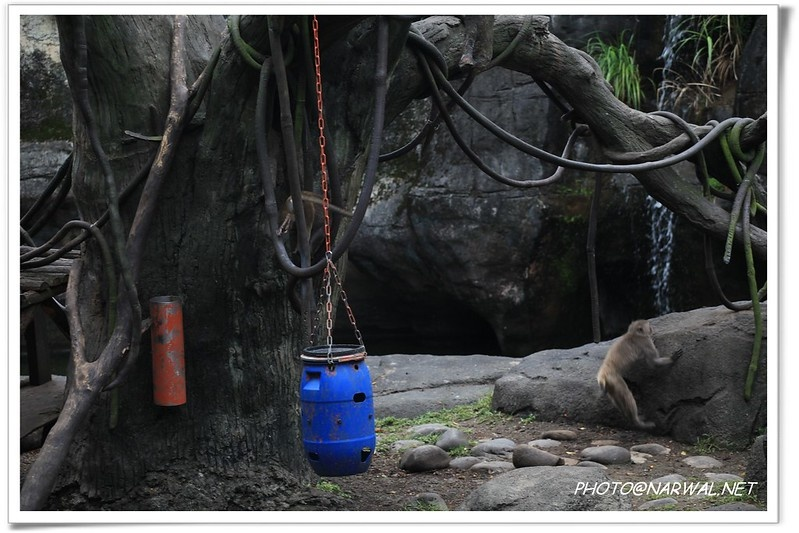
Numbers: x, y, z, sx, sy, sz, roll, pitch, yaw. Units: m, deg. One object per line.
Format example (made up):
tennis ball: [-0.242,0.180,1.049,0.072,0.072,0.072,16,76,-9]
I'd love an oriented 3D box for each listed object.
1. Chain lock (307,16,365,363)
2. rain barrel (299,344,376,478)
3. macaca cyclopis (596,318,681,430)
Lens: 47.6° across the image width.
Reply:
Chain lock: [-0.529,-0.591,7.256,0.418,2.796,0.383,-1,-9,1]
rain barrel: [-0.469,1.097,6.844,0.531,0.905,0.564,-3,-1,0]
macaca cyclopis: [2.224,0.977,9.035,0.644,1.175,1.063,-17,0,25]
